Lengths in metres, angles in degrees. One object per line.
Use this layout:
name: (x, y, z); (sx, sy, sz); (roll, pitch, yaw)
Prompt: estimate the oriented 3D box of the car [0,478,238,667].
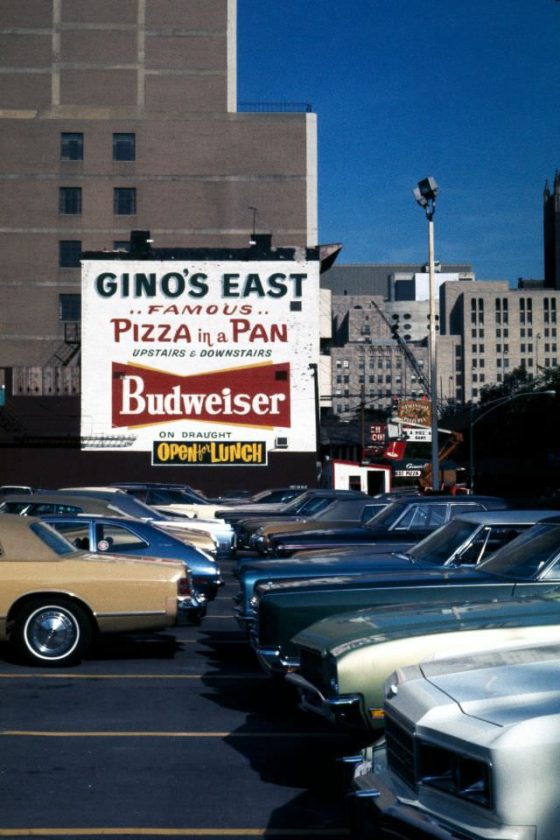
car: (-2.043, 1.585, 14.065); (3.005, 1.005, 1.511); (3, -3, 8)
